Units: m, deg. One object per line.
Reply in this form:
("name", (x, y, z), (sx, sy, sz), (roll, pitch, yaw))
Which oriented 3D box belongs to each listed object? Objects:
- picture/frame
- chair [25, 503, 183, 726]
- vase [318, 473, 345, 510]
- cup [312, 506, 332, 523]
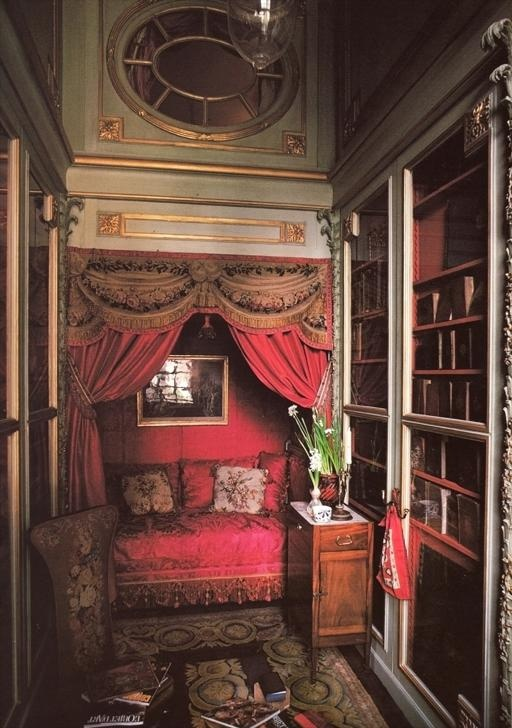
("picture/frame", (-0.561, 0.190, 4.445), (0.522, 0.442, 0.025), (1, -1, -8))
("chair", (-0.719, 1.094, 3.161), (0.732, 1.266, 0.728), (-8, -4, 38))
("vase", (0.393, 0.657, 3.227), (0.133, 0.174, 0.150), (2, -15, -6))
("cup", (0.331, 0.752, 3.049), (0.069, 0.054, 0.077), (1, -14, -12))
